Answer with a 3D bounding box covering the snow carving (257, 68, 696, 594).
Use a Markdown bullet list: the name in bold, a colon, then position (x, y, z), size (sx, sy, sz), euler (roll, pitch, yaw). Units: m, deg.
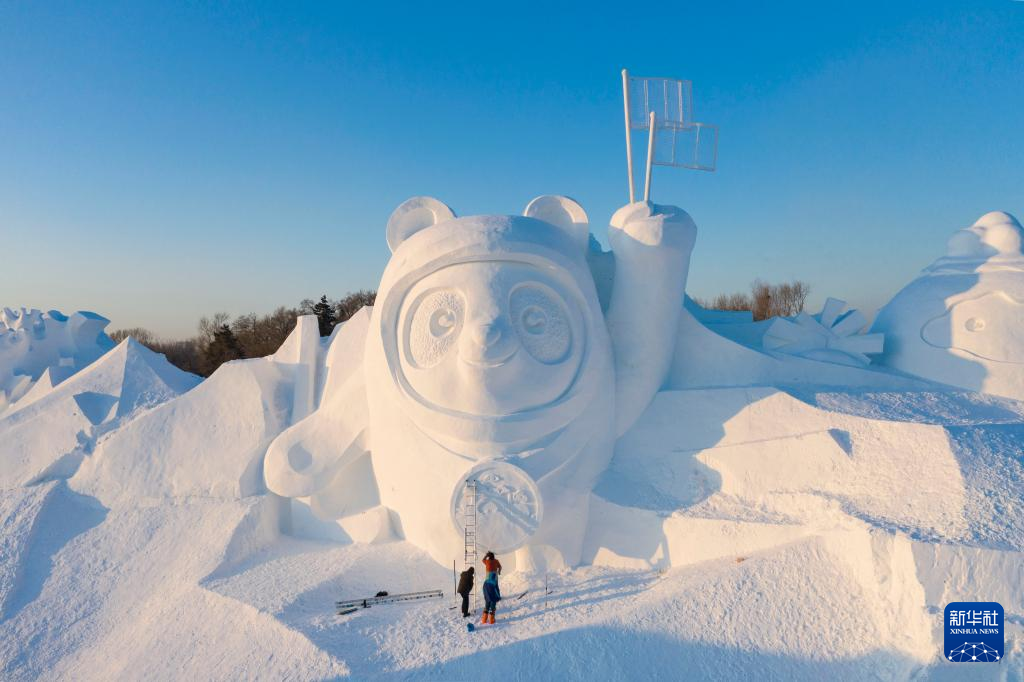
- **snow carving**: position (-0.114, 1.159, 14.502), size (6.707, 9.144, 2.755), euler (-1, 3, -3)
